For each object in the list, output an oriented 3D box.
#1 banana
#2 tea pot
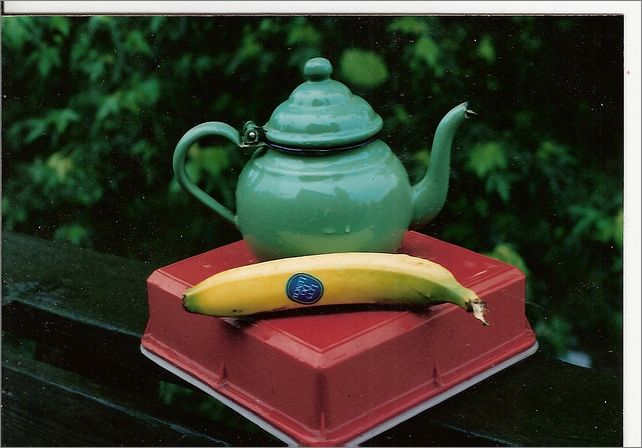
[{"bbox_3d":[0.035,0.184,1.800,0.857,0.153,0.189,-2,19,10],"label":"banana"},{"bbox_3d":[-0.090,-0.190,1.945,0.731,0.627,0.258,-1,19,13],"label":"tea pot"}]
